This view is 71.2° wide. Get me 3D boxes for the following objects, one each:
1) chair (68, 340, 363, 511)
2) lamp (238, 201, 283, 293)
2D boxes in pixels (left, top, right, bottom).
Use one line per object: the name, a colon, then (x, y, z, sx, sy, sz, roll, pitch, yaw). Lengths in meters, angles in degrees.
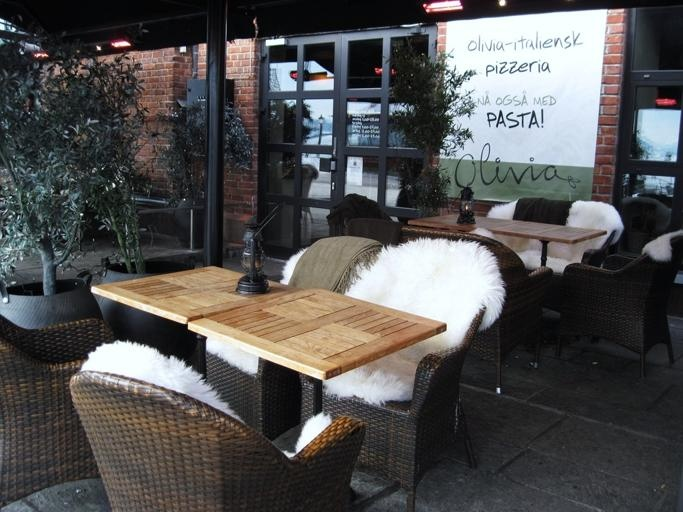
chair: (-0.413, 0.436, 1.560, 0.608, 0.686, 0.525, -18, 27, -41)
lamp: (-0.429, -0.040, 2.494, 0.270, 0.469, 0.206, -3, 8, -31)
